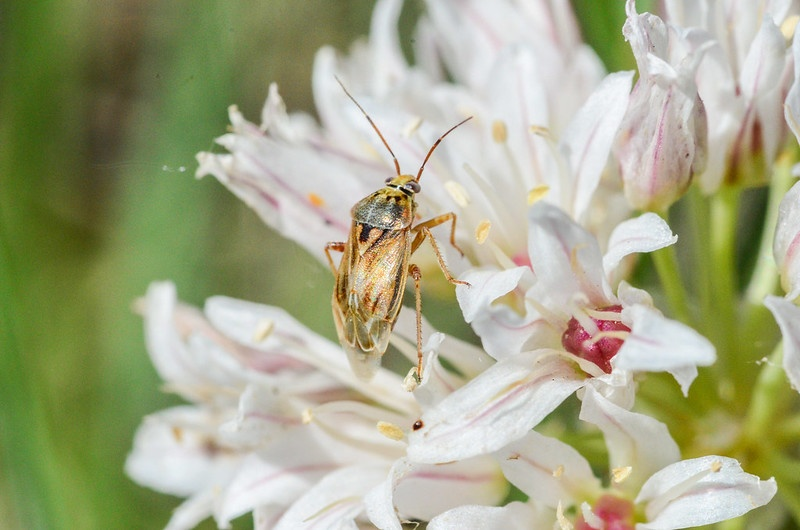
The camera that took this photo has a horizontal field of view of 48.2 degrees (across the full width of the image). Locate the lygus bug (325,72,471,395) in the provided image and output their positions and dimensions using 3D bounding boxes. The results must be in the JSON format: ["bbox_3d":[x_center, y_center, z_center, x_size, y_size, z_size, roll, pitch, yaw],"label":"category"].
[{"bbox_3d":[0.009,-0.028,1.240,0.225,0.381,0.096,-6,-17,28],"label":"lygus bug"}]
